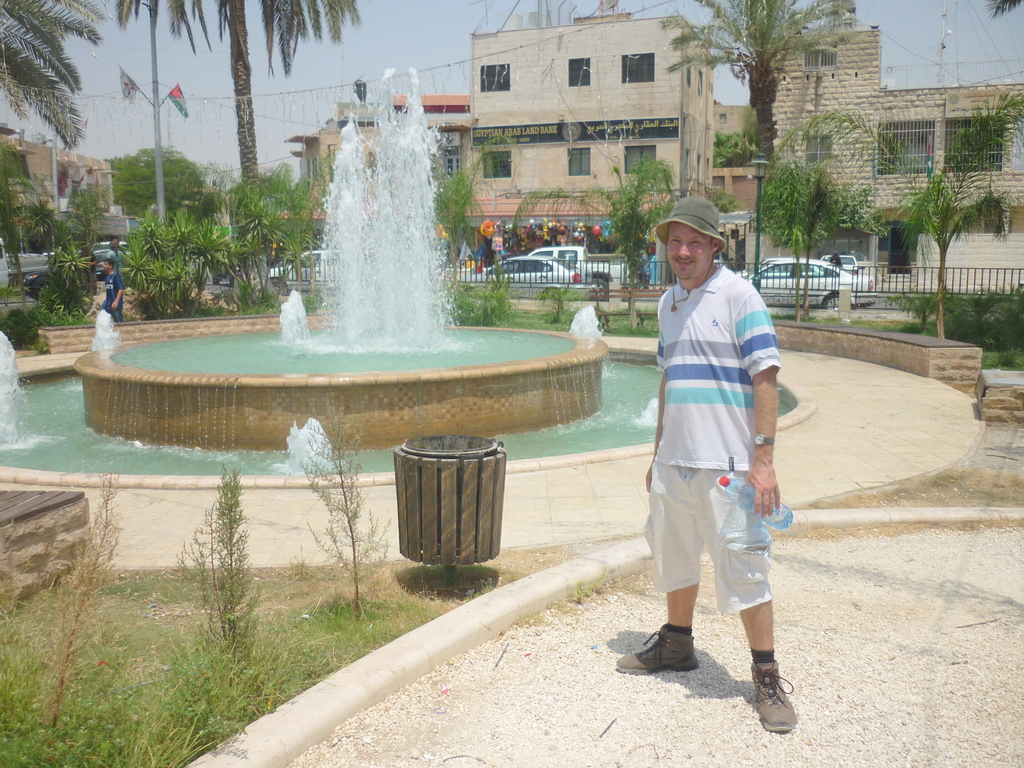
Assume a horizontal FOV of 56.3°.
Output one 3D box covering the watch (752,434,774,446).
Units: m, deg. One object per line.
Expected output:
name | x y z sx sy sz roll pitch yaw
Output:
watch | 1.305 0.303 4.983 0.080 0.056 0.080 6 -8 -40

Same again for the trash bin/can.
trash bin/can | -0.385 0.925 6.433 0.614 0.955 0.679 0 0 13

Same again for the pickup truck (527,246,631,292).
pickup truck | 2.364 -3.827 30.812 2.623 1.121 1.580 2 8 -1

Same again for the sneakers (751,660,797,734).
sneakers | 1.355 1.604 4.990 0.176 0.257 0.551 -4 5 3

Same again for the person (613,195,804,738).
person | 1.115 0.366 5.083 0.409 2.673 0.880 -10 12 -43

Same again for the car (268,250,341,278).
car | -6.522 -3.715 30.300 1.626 0.937 5.597 -3 10 -3

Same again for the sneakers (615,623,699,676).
sneakers | 0.800 1.492 5.398 0.481 0.322 0.208 0 -2 1

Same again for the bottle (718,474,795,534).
bottle | 1.273 0.621 4.988 0.388 0.306 0.079 -3 9 -5

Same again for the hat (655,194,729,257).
hat | 1.026 -0.916 5.229 0.272 0.179 0.317 7 -16 28

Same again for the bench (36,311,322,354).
bench | -7.036 -1.051 19.478 4.530 0.520 1.344 -4 10 -11
